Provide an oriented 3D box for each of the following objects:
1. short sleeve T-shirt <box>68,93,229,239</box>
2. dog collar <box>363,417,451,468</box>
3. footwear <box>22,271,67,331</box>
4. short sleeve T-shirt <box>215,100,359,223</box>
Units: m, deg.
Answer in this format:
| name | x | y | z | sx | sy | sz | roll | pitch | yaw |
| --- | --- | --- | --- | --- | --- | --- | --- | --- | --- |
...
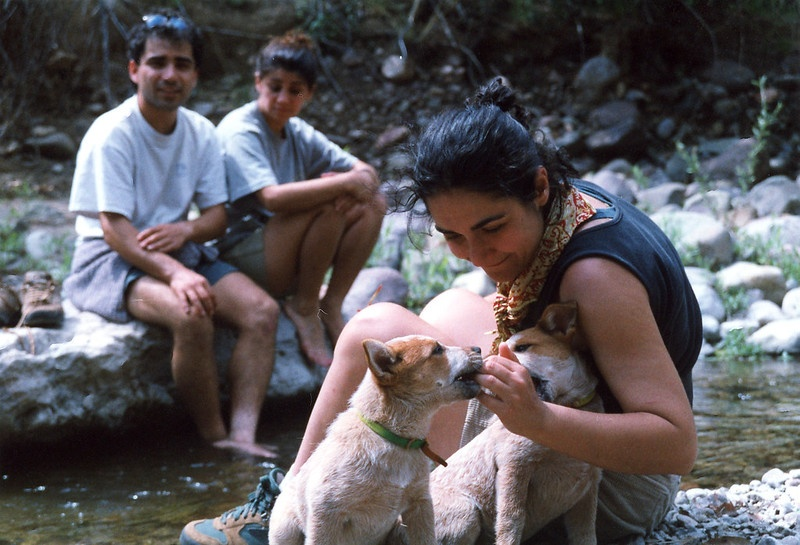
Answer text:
| name | x | y | z | sx | sy | sz | roll | pitch | yaw |
| --- | --- | --- | --- | --- | --- | --- | --- | --- | --- |
| short sleeve T-shirt | -1.907 | -0.823 | 6.520 | 1.152 | 1.055 | 0.698 | -4 | 5 | -43 |
| dog collar | 0.029 | 0.906 | 4.518 | 0.375 | 0.107 | 0.220 | 26 | 1 | -15 |
| footwear | -2.705 | 0.190 | 6.385 | 0.251 | 0.202 | 0.482 | 2 | 27 | -10 |
| short sleeve T-shirt | -1.047 | -0.981 | 6.848 | 0.737 | 0.840 | 1.303 | 3 | 17 | 27 |
